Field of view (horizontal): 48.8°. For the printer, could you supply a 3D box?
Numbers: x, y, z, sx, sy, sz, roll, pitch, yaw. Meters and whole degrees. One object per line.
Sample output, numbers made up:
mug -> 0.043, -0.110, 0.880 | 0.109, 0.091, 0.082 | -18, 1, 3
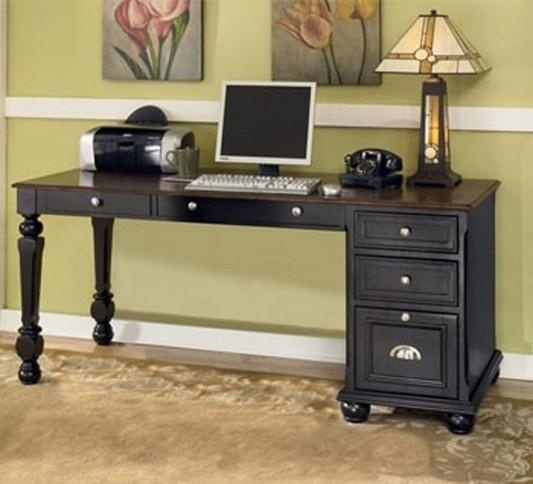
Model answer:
printer -> -0.543, -0.429, 2.499 | 0.431, 0.253, 0.336 | 1, 8, -2

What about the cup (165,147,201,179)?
cup -> -0.310, -0.308, 2.298 | 0.151, 0.113, 0.100 | 2, 3, 41

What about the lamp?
lamp -> 0.613, -0.525, 2.175 | 0.464, 0.593, 0.450 | -3, 13, -1

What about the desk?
desk -> -0.062, 0.168, 2.352 | 1.681, 0.802, 0.706 | 3, 10, 14

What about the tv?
tv -> 0.002, -0.444, 2.275 | 0.423, 0.378, 0.139 | 2, 0, 16

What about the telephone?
telephone -> 0.384, -0.264, 2.134 | 0.209, 0.123, 0.213 | 7, 16, 28
